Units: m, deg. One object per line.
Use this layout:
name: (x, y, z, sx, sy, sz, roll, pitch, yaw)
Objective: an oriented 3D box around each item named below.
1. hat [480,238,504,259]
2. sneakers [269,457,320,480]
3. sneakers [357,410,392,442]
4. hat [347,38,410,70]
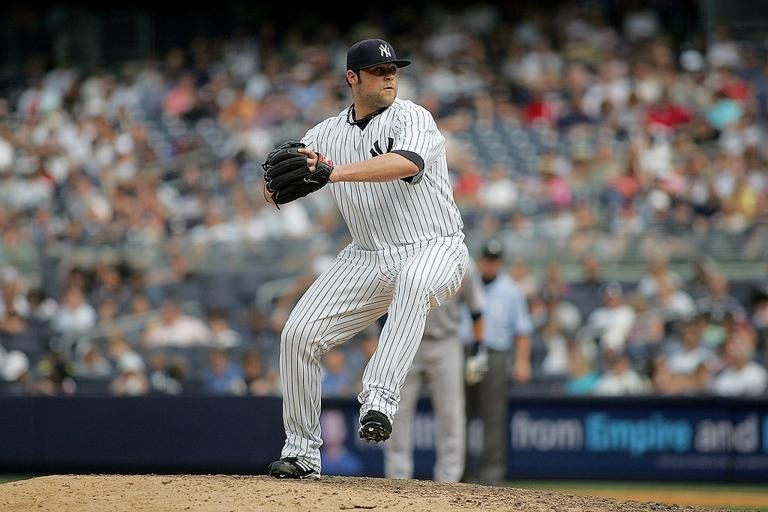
hat: (1.177, -0.057, 18.527, 0.229, 0.214, 0.263, -1, -4, 1)
sneakers: (-0.887, 2.037, 15.940, 0.479, 0.187, 0.201, 18, -19, -22)
sneakers: (-0.100, 1.591, 15.610, 0.289, 0.282, 0.179, -1, -4, 12)
hat: (-0.081, -1.854, 15.811, 0.483, 0.224, 0.304, -12, 3, 14)
